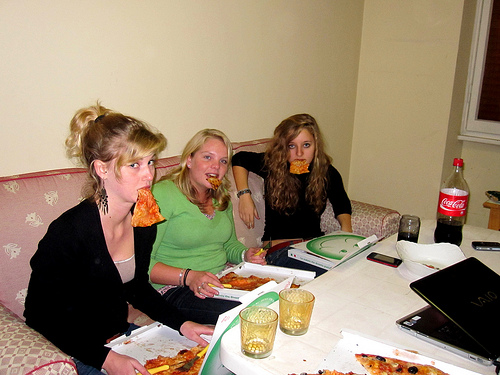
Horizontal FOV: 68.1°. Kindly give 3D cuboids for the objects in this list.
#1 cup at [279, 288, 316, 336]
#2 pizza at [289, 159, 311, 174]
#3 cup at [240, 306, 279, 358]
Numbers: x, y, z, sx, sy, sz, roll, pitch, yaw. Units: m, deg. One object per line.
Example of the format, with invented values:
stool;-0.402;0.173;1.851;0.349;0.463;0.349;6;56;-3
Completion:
cup;0.148;0.380;1.181;0.118;0.105;0.127;1;5;0
pizza;0.310;-0.137;2.357;0.101;0.078;0.010;-1;3;-5
cup;0.028;0.428;1.117;0.117;0.105;0.127;2;-4;0
